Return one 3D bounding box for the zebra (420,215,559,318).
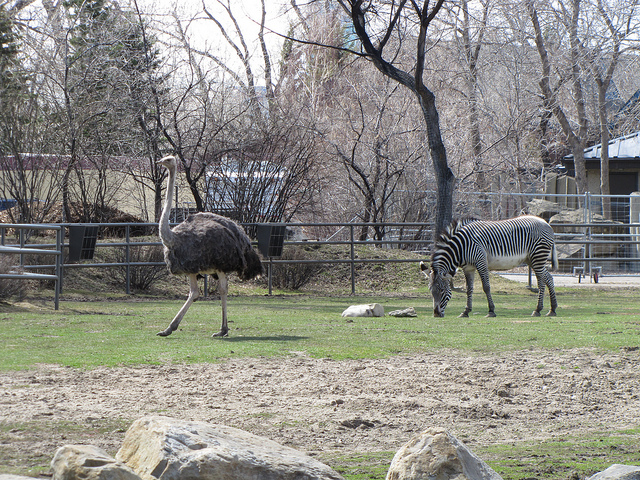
[{"bbox_3d":[3.834,0.650,26.560,3.756,2.243,0.988,-6,-3,-30],"label":"zebra"}]
